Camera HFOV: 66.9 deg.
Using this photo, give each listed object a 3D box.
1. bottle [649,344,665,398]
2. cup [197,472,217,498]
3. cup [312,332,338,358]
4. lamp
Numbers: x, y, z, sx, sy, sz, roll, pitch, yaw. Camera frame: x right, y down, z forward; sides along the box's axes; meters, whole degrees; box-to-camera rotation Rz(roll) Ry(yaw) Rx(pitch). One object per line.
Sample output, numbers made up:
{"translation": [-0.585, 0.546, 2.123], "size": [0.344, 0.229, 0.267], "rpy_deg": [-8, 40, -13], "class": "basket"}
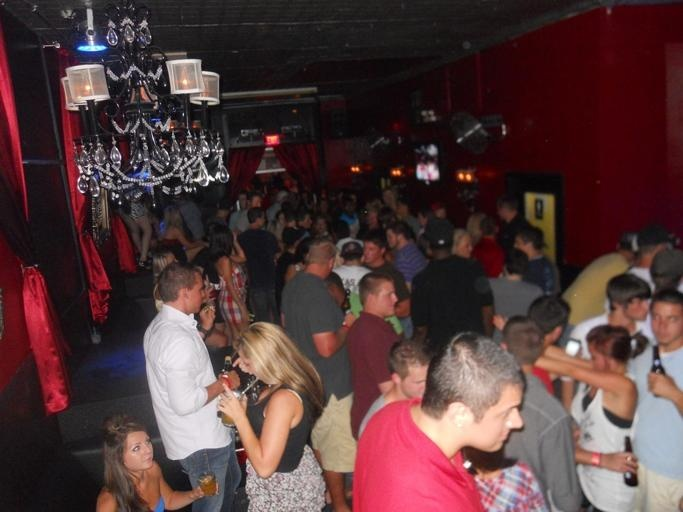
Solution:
{"translation": [2.061, 0.682, 3.366], "size": [0.086, 0.160, 0.142], "rpy_deg": [2, 11, 34], "class": "bottle"}
{"translation": [-0.869, 1.480, 3.345], "size": [0.123, 0.128, 0.113], "rpy_deg": [1, -4, 0], "class": "cup"}
{"translation": [-0.116, 0.645, 3.815], "size": [0.145, 0.205, 0.071], "rpy_deg": [6, -6, -24], "class": "cup"}
{"translation": [-1.493, -1.183, 3.839], "size": [0.993, 1.532, 1.284], "rpy_deg": [-9, 10, -27], "class": "lamp"}
